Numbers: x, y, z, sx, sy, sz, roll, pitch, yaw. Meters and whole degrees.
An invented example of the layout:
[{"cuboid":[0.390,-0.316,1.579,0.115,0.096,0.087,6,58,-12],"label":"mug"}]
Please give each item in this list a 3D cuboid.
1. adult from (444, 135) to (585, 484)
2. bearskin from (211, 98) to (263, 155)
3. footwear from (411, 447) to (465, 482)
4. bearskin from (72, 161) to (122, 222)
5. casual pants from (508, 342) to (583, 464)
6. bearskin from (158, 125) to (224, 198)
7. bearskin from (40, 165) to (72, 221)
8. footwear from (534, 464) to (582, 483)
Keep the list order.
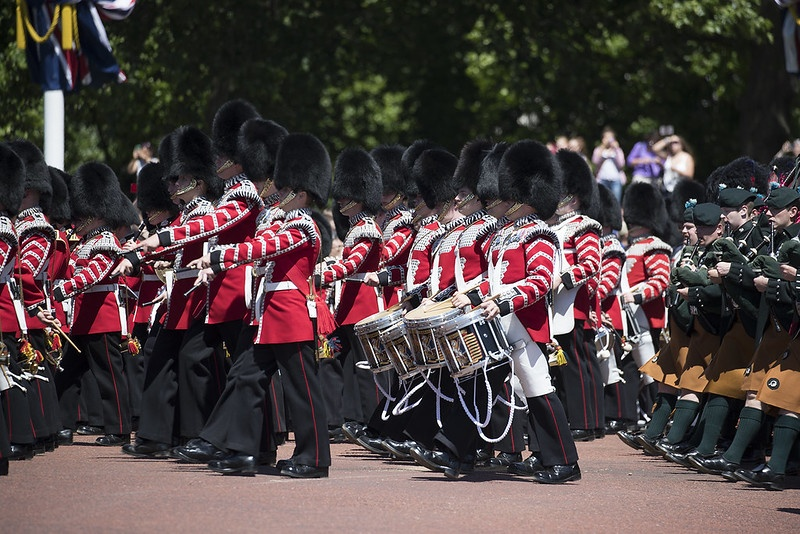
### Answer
[{"cuboid":[0.837,0.396,10.062,1.315,2.736,1.119,1,1,14],"label":"adult"},{"cuboid":[-1.496,-1.259,10.947,0.590,0.469,0.169,-4,-15,43],"label":"bearskin"},{"cuboid":[0.323,1.569,10.127,0.472,0.194,0.159,31,-16,-25],"label":"footwear"},{"cuboid":[-3.009,-0.750,12.248,0.486,0.500,0.596,1,-27,-9],"label":"bearskin"},{"cuboid":[1.207,1.162,10.019,0.289,0.863,0.731,-23,-4,29],"label":"casual pants"},{"cuboid":[-1.841,-0.943,11.376,0.581,0.606,0.714,19,20,-1],"label":"bearskin"},{"cuboid":[-3.392,-0.732,12.318,0.189,0.529,0.408,-3,13,-14],"label":"bearskin"},{"cuboid":[1.304,1.683,10.031,0.396,0.152,0.146,2,-5,-2],"label":"footwear"}]
